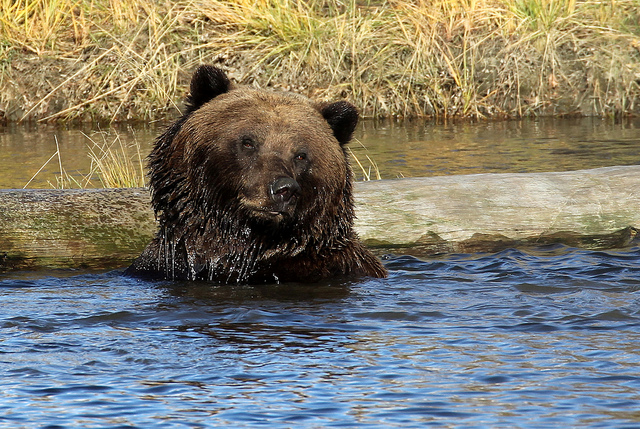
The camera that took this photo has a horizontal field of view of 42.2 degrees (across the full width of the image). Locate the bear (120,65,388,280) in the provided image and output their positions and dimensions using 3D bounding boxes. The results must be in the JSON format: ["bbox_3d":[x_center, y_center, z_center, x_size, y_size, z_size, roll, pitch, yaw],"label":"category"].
[{"bbox_3d":[-0.502,-0.256,6.948,2.824,1.313,1.984,0,-9,0],"label":"bear"}]
